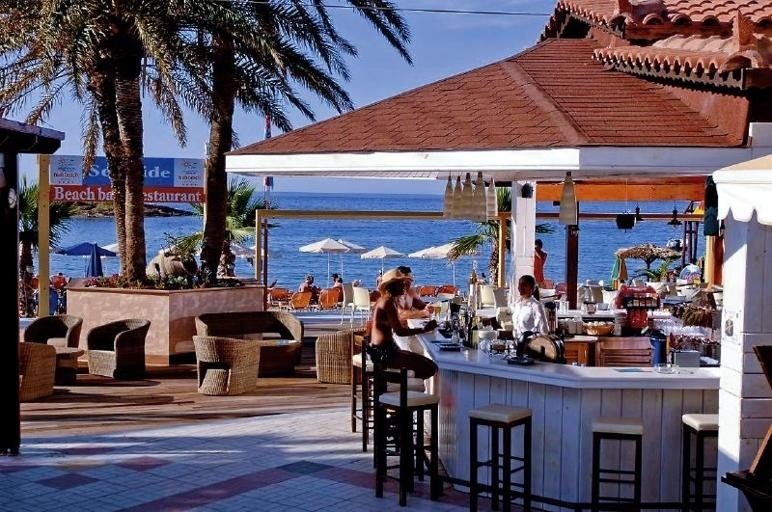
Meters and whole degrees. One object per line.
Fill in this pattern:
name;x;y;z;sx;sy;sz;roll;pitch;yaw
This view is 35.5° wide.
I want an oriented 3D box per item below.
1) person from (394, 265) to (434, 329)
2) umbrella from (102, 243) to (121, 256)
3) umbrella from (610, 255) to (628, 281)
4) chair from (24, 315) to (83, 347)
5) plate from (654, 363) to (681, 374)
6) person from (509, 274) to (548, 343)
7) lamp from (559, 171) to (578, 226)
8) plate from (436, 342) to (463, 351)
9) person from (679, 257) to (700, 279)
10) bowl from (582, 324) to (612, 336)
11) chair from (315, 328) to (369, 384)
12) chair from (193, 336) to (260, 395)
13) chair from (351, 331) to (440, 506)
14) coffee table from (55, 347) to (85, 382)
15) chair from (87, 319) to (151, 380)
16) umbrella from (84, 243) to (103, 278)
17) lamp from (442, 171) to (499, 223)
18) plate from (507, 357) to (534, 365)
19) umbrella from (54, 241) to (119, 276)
person;0.449;0.752;19.591;0.740;1.131;0.712;-5;15;-19
umbrella;-8.973;-0.195;39.149;0.729;0.379;0.746;4;-2;9
umbrella;7.321;0.402;37.763;0.604;1.063;1.061;3;-6;13
chair;-5.937;1.339;21.458;0.686;0.798;0.722;0;-6;4
plate;3.714;1.488;15.818;0.356;0.115;0.260;0;-2;-17
person;2.171;0.834;18.521;0.378;1.313;0.780;12;-15;-43
lamp;2.855;-0.909;18.874;0.254;0.819;0.960;0;-2;8
plate;0.899;1.270;16.708;0.351;0.115;0.309;0;-1;1
person;7.864;0.375;30.761;0.454;0.493;0.741;2;-8;-9
bowl;3.403;1.194;19.259;0.457;0.184;0.294;0;-2;8
chair;-0.819;1.819;21.725;0.888;0.964;1.022;4;-1;16
chair;-2.812;1.849;20.821;1.182;0.981;1.154;-2;0;-28
chair;0.150;2.261;16.358;0.609;1.320;2.098;-2;5;-14
coffee table;-5.569;1.916;20.947;0.591;0.442;0.558;1;-2;2
chair;-4.734;1.733;21.777;1.065;1.141;1.082;-4;-7;42
umbrella;-7.859;0.122;32.333;0.386;0.987;5.246;0;-2;-14
lamp;1.408;-0.924;19.731;0.843;0.835;0.853;1;-4;-2
plate;1.785;1.410;15.960;0.353;0.103;0.158;0;-2;11
umbrella;-12.612;0.229;50.355;1.758;1.248;1.812;-1;-2;24
